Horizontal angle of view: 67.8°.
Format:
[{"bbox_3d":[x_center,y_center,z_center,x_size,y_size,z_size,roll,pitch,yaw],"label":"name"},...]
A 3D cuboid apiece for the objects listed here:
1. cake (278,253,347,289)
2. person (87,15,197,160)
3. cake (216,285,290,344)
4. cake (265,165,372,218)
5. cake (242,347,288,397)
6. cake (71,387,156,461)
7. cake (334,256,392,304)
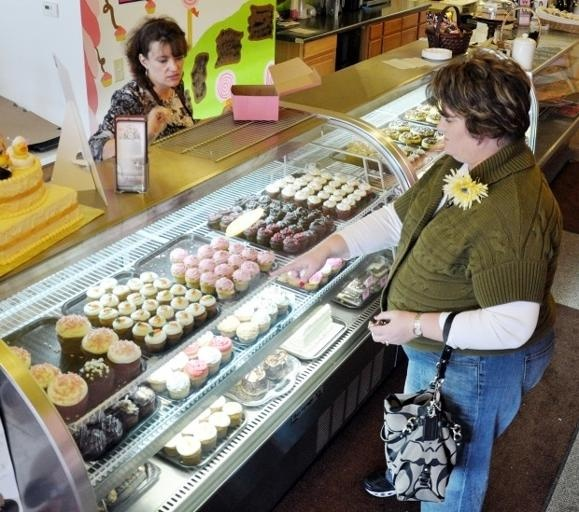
[{"bbox_3d":[0.124,0.063,2.051,0.170,0.036,0.240,18,37,31],"label":"cake"},{"bbox_3d":[-0.922,-1.146,2.741,0.590,0.702,1.351,-9,28,-8],"label":"person"},{"bbox_3d":[-0.140,0.238,1.801,0.177,0.084,0.306,25,39,29],"label":"cake"},{"bbox_3d":[0.192,-0.350,2.323,0.426,0.105,0.357,11,26,19],"label":"cake"},{"bbox_3d":[-0.104,0.520,1.931,0.147,0.056,0.212,20,43,43],"label":"cake"},{"bbox_3d":[-0.527,0.504,1.306,0.113,0.054,0.194,39,41,21],"label":"cake"},{"bbox_3d":[0.425,0.160,2.399,0.320,0.068,0.262,-37,38,-29],"label":"cake"}]
